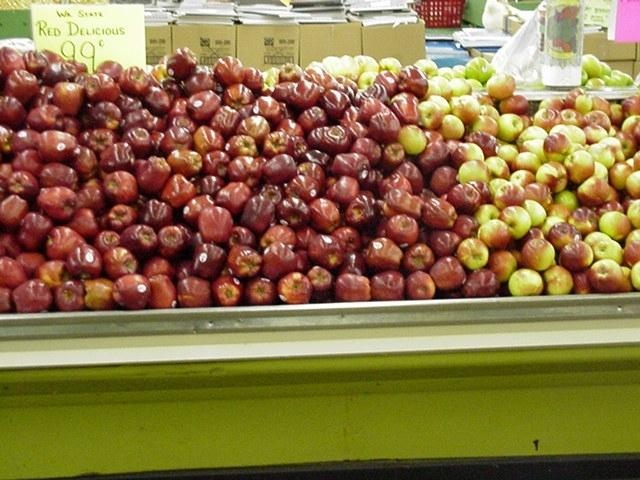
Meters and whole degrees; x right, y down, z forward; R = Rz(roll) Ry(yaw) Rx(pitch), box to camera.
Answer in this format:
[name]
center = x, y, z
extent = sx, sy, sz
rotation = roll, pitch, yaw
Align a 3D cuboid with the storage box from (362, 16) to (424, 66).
[storage box]
center = 0.620, -1.669, 5.094
extent = 0.595, 0.451, 0.350
rotation = -2, 15, -1
